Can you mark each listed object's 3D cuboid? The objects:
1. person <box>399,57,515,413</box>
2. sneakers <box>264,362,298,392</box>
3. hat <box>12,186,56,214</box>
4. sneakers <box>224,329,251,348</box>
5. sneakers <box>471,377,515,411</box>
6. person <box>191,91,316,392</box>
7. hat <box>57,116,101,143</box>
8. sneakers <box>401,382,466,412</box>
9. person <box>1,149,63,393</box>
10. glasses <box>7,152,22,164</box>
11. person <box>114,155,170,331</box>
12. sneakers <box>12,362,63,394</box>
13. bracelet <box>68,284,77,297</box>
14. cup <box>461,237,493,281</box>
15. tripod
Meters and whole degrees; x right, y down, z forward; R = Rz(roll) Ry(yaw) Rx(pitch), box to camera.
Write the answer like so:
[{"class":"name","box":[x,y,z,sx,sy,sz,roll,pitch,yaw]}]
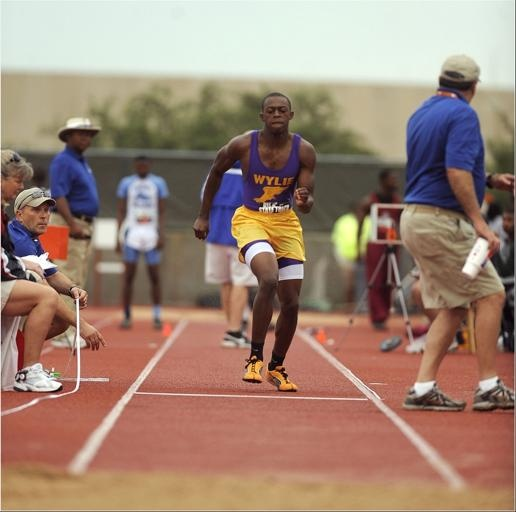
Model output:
[{"class":"person","box":[1.228,-0.152,4.698,0.717,2.139,0.725,2,9,10]},{"class":"sneakers","box":[0.147,0.825,5.374,0.101,0.132,0.294,-10,19,-33]},{"class":"hat","box":[-1.563,-0.373,5.310,0.230,0.122,0.161,-12,-7,32]},{"class":"sneakers","box":[-0.180,0.892,8.299,0.356,0.187,0.126,2,3,4]},{"class":"sneakers","box":[1.402,0.845,4.698,0.275,0.203,0.139,0,1,-4]},{"class":"person","box":[0.045,-0.098,5.338,0.790,2.031,0.586,9,12,41]},{"class":"hat","box":[-1.834,-1.296,7.886,0.404,0.252,0.445,-2,10,-15]},{"class":"sneakers","box":[1.057,0.862,4.688,0.360,0.180,0.160,2,-1,-5]},{"class":"person","box":[-1.451,0.113,4.883,0.372,1.553,0.590,-1,9,-15]},{"class":"glasses","box":[-1.477,-0.595,4.681,0.068,0.034,0.054,13,25,-20]},{"class":"person","box":[-1.667,-0.171,11.173,0.731,2.561,1.209,-1,9,-10]},{"class":"sneakers","box":[-1.431,0.791,5.047,0.324,0.203,0.151,4,-3,8]},{"class":"bracelet","box":[-1.286,0.233,5.340,0.041,0.081,0.059,0,7,-6]},{"class":"cup","box":[1.237,0.013,4.365,0.215,0.240,0.100,-5,11,-33]},{"class":"tripod","box":[1.808,0.574,11.153,1.248,1.879,1.154,1,-2,-6]}]
